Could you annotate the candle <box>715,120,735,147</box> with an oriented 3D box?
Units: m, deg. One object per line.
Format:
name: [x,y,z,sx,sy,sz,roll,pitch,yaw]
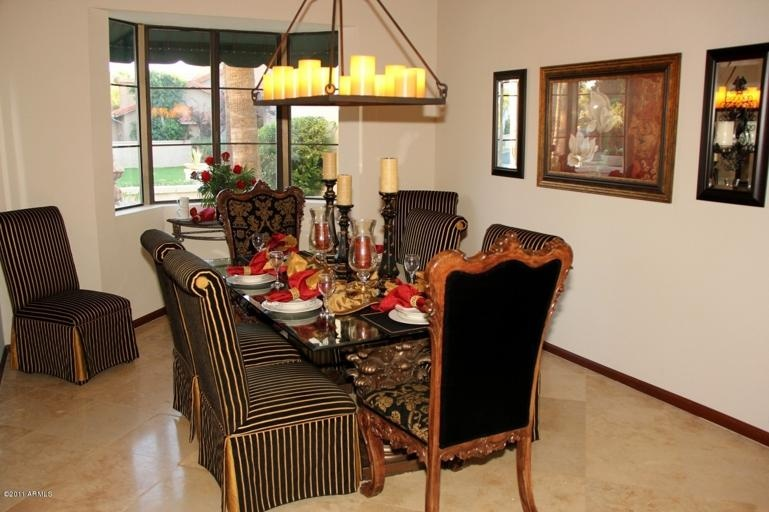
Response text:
candle: [2.347,-0.842,3.955,0.039,0.151,0.158,1,11,-34]

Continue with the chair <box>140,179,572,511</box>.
chair: [-0.222,0.655,3.219,2.192,1.627,1.074,6,13,26]

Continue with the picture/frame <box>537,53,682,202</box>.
picture/frame: [1.856,-1.048,4.638,0.082,1.122,1.131,-3,18,-34]

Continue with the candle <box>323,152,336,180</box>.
candle: [-0.383,-0.627,4.039,0.083,0.185,0.171,-2,12,-9]

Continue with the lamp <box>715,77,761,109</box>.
lamp: [2.383,-1.080,3.877,0.211,0.207,0.206,1,11,15]

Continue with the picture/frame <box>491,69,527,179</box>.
picture/frame: [1.206,-1.258,5.530,0.119,1.006,0.459,-6,14,-25]
